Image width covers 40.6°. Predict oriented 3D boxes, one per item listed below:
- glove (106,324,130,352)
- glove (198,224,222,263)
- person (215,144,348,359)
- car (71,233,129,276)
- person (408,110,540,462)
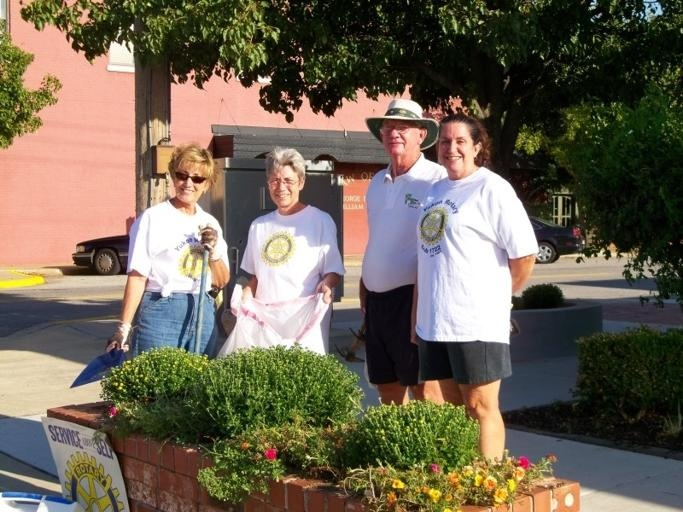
[{"bbox_3d":[-1.602,0.619,6.653,0.115,0.229,0.060,23,-27,11],"label":"glove"},{"bbox_3d":[-0.987,-0.095,6.881,0.130,0.261,0.102,9,39,26],"label":"glove"},{"bbox_3d":[-0.422,-0.049,7.107,0.870,1.207,0.418,2,1,0],"label":"person"},{"bbox_3d":[-6.038,-0.045,23.527,2.161,1.083,1.226,2,0,0],"label":"car"},{"bbox_3d":[0.910,0.180,6.328,0.789,2.024,0.343,2,1,4],"label":"person"}]
